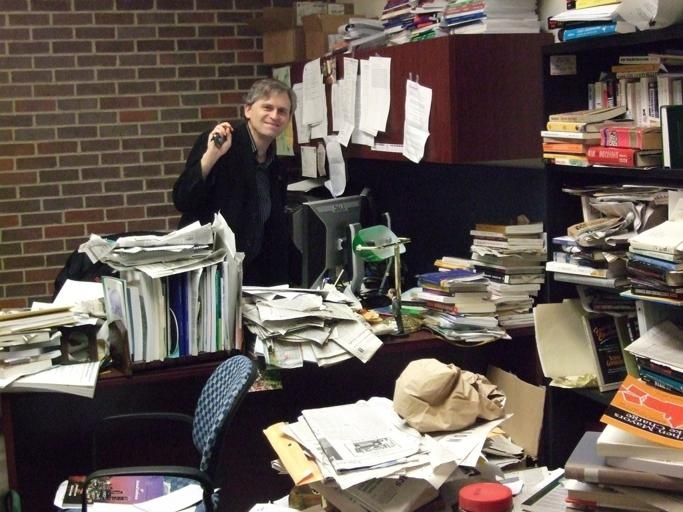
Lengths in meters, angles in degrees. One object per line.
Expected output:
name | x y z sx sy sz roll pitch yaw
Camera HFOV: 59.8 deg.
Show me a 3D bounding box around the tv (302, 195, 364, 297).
tv | -0.044 -0.033 2.649 0.374 0.475 0.229 -8 18 -34
